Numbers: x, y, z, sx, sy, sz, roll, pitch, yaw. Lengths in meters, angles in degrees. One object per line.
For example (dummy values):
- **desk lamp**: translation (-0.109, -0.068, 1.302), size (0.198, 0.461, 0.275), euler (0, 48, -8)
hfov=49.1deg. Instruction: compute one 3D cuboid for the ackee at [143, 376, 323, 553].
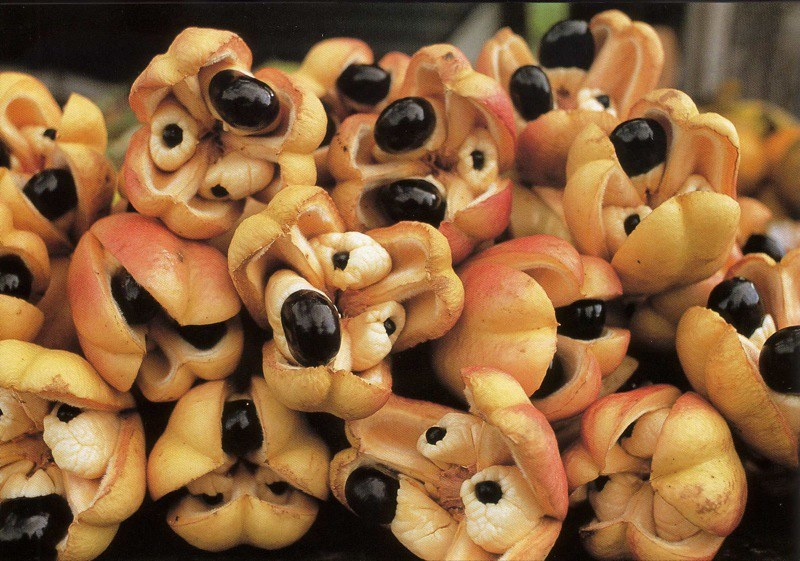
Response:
- **ackee**: translation (-0.219, 0.233, 1.252), size (0.238, 0.239, 0.110), euler (-2, 0, 1)
